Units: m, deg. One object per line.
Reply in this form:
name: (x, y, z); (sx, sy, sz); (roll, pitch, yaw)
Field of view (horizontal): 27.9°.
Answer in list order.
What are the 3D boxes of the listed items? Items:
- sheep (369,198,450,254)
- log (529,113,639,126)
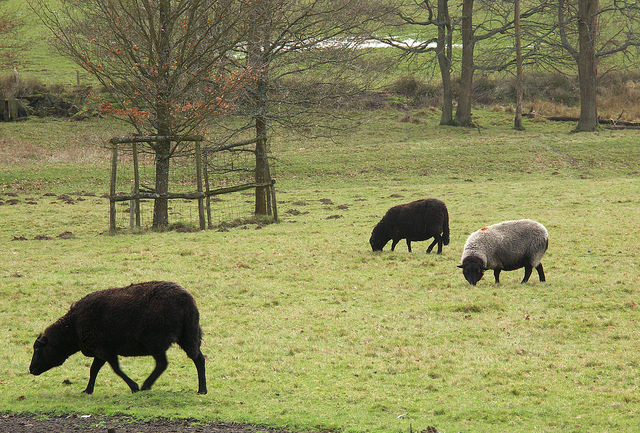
sheep: (5.226, 0.509, 77.911); (5.712, 3.466, 2.424); (-4, -6, 25)
log: (21.706, -7.852, 104.446); (1.011, 0.653, 8.674); (-6, 8, -37)
